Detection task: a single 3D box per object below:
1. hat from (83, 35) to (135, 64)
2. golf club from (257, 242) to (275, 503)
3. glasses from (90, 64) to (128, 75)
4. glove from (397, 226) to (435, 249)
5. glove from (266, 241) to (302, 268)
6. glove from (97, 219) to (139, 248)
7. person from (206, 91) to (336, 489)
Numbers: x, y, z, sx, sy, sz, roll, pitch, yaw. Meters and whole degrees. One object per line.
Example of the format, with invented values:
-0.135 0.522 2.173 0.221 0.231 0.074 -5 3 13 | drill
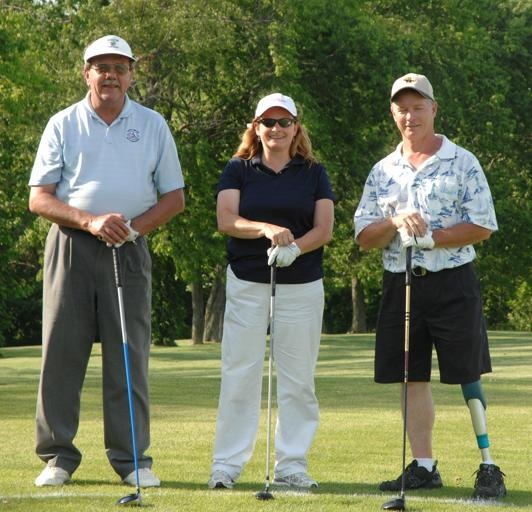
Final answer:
-1.548 -2.053 13.710 0.511 0.296 0.244 0 1 -6 | hat
0.037 1.266 13.665 0.362 1.856 0.370 1 6 0 | golf club
-1.540 -1.851 13.643 0.372 0.111 0.070 1 1 -5 | glasses
1.487 -0.148 13.599 0.250 0.225 0.119 -2 18 -6 | glove
0.181 -0.005 13.694 0.323 0.242 0.172 1 1 2 | glove
-1.431 -0.167 13.530 0.305 0.164 0.229 -20 25 32 | glove
0.064 0.338 13.915 1.176 3.967 0.761 1 1 1 | person
